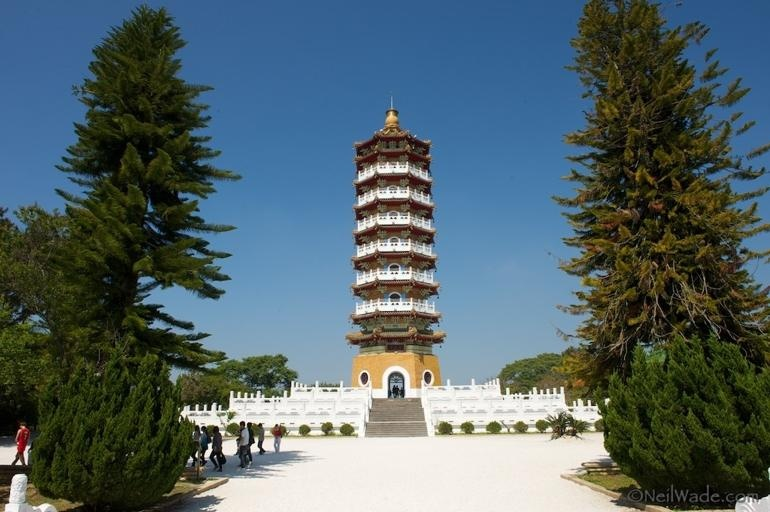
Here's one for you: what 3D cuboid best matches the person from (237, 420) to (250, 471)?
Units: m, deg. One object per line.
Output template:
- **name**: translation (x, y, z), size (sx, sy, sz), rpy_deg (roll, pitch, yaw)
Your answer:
- **person**: translation (-6.371, 8.376, 29.695), size (0.517, 1.871, 1.266), rpy_deg (1, -7, -12)
